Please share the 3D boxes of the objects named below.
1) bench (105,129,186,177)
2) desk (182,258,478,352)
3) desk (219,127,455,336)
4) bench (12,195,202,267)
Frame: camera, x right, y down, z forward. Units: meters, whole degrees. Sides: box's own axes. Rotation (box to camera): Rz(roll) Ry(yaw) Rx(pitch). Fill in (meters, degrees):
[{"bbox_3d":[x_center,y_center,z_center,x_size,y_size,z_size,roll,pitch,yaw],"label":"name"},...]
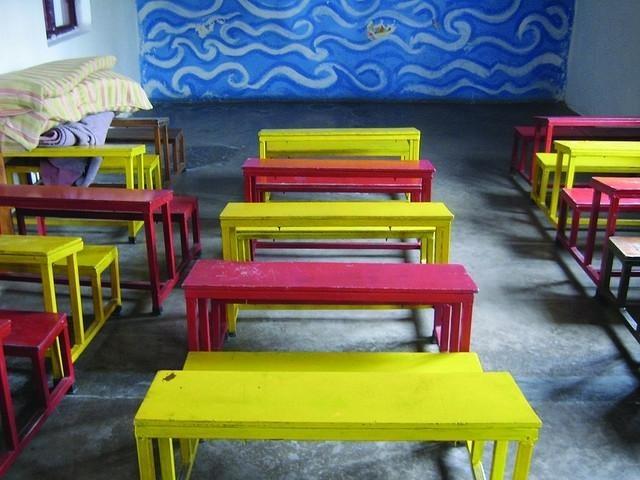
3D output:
[{"bbox_3d":[-1.804,-0.906,5.375,1.145,0.402,0.494,1,26,0],"label":"bench"},{"bbox_3d":[0.043,0.382,2.672,1.371,0.592,0.566,-1,21,3],"label":"desk"},{"bbox_3d":[0.076,-0.216,4.346,1.593,0.588,2.164,1,21,1],"label":"desk"},{"bbox_3d":[-1.297,-0.151,3.771,1.237,0.424,0.676,1,17,-1],"label":"bench"}]
